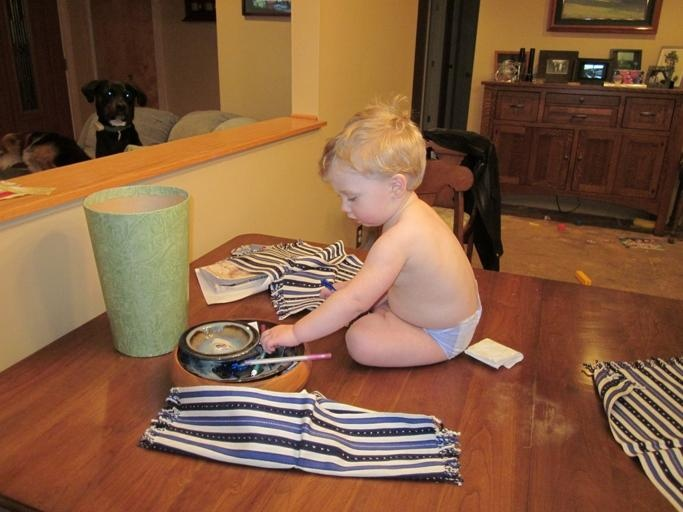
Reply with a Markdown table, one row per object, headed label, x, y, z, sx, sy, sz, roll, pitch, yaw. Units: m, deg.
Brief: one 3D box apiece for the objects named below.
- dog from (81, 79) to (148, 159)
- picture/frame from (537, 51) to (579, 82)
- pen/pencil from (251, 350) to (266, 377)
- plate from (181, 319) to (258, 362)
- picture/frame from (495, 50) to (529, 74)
| label | x | y | z | sx | sy | sz | roll | pitch | yaw |
| --- | --- | --- | --- | --- | --- | --- | --- | --- | --- |
| dog | -1.337 | -0.795 | 3.021 | 0.342 | 0.469 | 0.313 | -2 | 16 | -29 |
| picture/frame | 1.929 | -1.678 | 4.567 | 0.258 | 0.245 | 0.026 | 6 | 4 | 15 |
| pen/pencil | -0.165 | 0.211 | 1.037 | 0.014 | 0.020 | 0.061 | 14 | 41 | 17 |
| plate | -0.248 | 0.173 | 1.083 | 0.085 | 0.024 | 0.096 | 3 | 25 | 2 |
| picture/frame | 1.549 | -1.739 | 4.650 | 0.137 | 0.179 | 0.251 | -11 | 17 | -42 |
